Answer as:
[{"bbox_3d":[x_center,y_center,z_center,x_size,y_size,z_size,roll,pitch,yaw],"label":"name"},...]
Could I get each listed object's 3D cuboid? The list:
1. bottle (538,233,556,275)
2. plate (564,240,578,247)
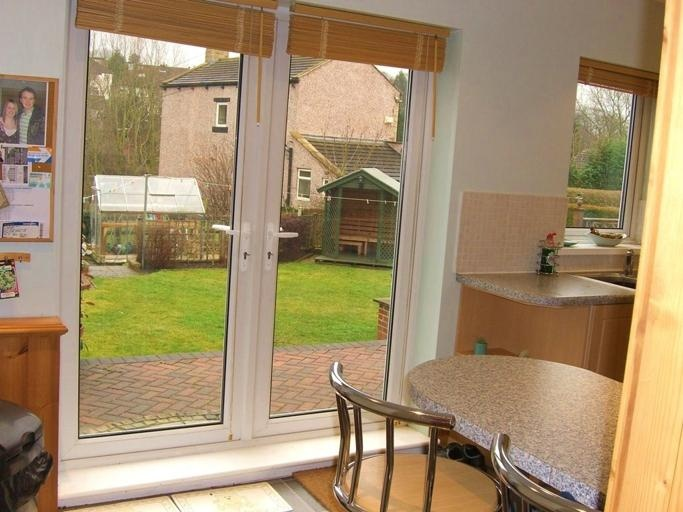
[{"bbox_3d":[1.376,-0.021,3.753,0.105,0.269,0.115,13,15,38],"label":"bottle"},{"bbox_3d":[1.707,-0.094,4.192,0.068,0.042,0.206,9,12,27],"label":"plate"}]
